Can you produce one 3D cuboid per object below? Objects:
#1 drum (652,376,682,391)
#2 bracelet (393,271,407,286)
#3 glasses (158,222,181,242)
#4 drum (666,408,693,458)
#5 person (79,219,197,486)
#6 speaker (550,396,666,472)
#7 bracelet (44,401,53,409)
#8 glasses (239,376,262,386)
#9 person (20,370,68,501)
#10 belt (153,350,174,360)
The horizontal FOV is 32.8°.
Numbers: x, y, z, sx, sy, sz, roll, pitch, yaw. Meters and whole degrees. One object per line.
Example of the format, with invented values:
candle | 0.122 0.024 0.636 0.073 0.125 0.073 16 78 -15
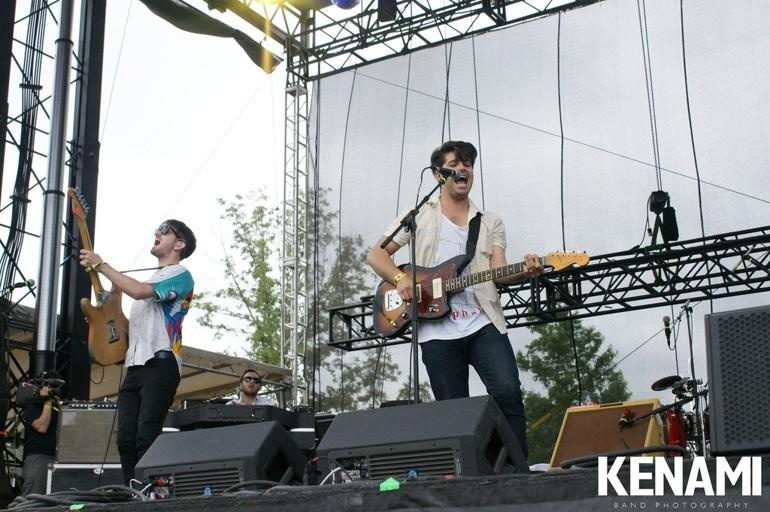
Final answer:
drum | 3.622 1.578 16.760 0.375 0.218 0.826 -1 -13 10
bracelet | 0.136 0.220 13.165 0.095 0.129 0.123 3 17 -22
glasses | -2.303 -0.280 13.879 0.169 0.066 0.182 3 -35 32
drum | 3.408 2.034 15.155 0.444 0.641 0.218 6 -12 -19
person | -2.509 0.935 13.593 0.959 2.783 0.450 4 -13 -13
speaker | 2.781 2.321 16.091 1.571 0.906 1.144 -9 2 15
bracelet | -4.128 1.824 16.038 0.100 0.115 0.103 1 -11 3
glasses | -1.749 1.603 17.059 0.248 0.092 0.123 5 -14 -18
person | -4.207 2.180 15.983 0.411 1.355 0.530 5 -13 -17
belt | -2.292 1.010 13.536 0.201 0.104 0.018 4 -13 -13
